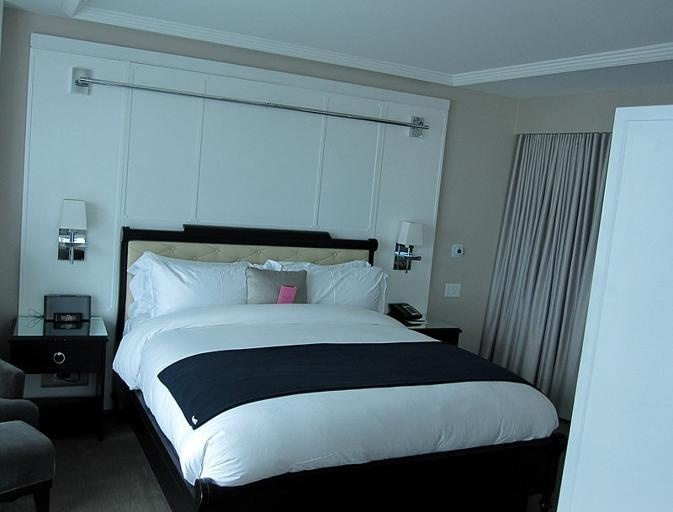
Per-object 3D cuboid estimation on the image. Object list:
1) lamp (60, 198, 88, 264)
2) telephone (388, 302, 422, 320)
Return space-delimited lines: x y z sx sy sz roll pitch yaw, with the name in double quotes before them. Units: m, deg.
"lamp" -2.272 -0.209 3.928 0.242 0.532 0.202 -4 16 -29
"telephone" 0.743 0.600 4.975 0.185 0.089 0.248 2 0 -21
